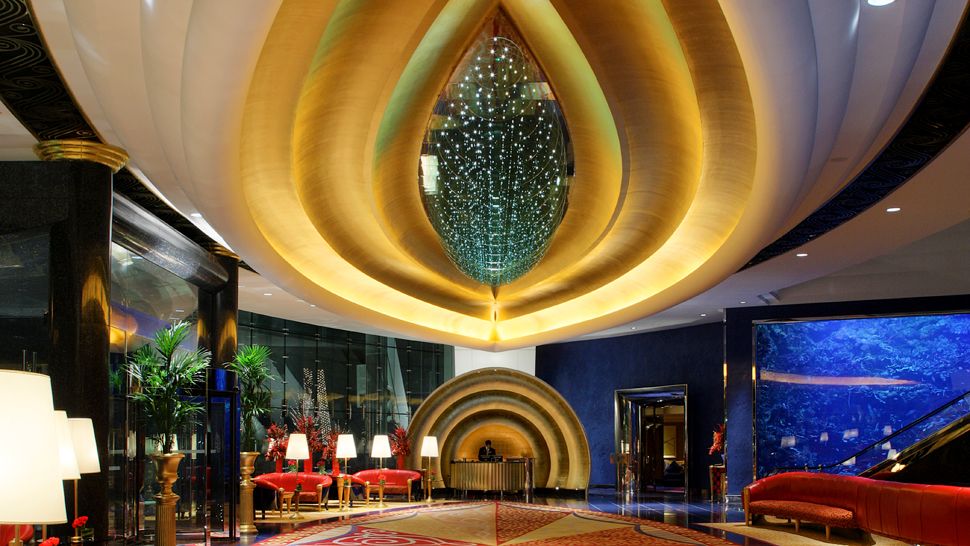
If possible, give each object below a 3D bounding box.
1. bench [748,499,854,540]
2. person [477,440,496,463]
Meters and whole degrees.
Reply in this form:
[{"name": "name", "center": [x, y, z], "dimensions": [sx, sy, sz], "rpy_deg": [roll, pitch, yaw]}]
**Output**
[{"name": "bench", "center": [6.392, 4.953, 13.951], "dimensions": [1.069, 0.786, 2.339], "rpy_deg": [2, -20, -13]}, {"name": "person", "center": [0.075, 5.802, 22.531], "dimensions": [0.608, 0.869, 1.715], "rpy_deg": [-2, -20, -1]}]
